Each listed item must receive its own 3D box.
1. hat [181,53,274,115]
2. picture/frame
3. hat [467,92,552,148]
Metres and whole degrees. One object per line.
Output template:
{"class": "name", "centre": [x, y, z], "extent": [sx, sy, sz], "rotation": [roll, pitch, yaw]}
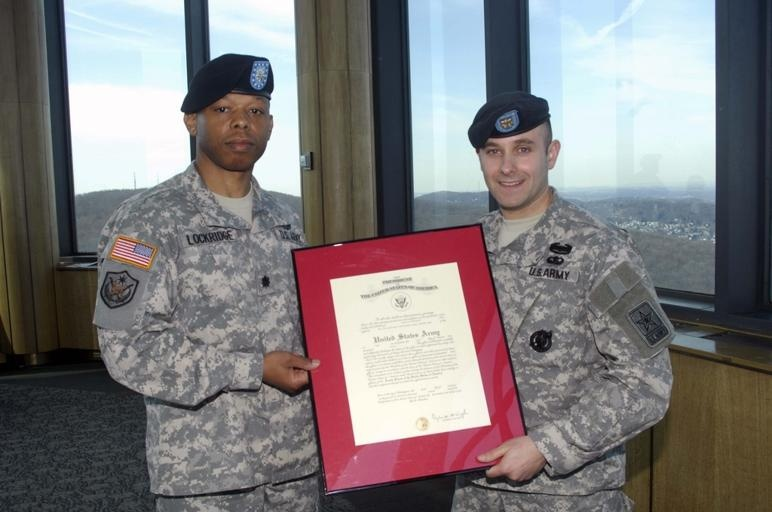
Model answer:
{"class": "hat", "centre": [-0.760, -0.809, 3.085], "extent": [0.377, 0.183, 0.369], "rotation": [-1, 11, 4]}
{"class": "picture/frame", "centre": [0.114, 0.448, 2.927], "extent": [1.231, 1.209, 0.168], "rotation": [-1, 6, 42]}
{"class": "hat", "centre": [0.574, -0.646, 3.074], "extent": [0.402, 0.177, 0.315], "rotation": [-20, 15, -25]}
